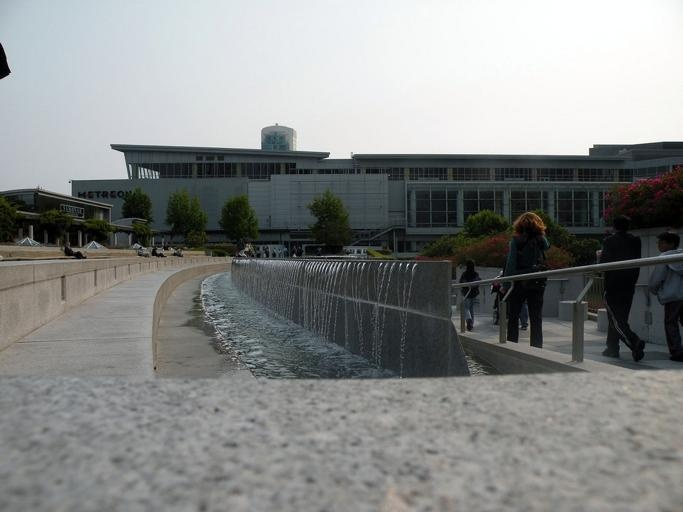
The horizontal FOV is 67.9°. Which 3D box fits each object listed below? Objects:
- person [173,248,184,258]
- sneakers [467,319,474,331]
[{"bbox_3d":[-16.828,-0.380,51.983,0.630,0.985,2.210,5,0,-4],"label":"person"},{"bbox_3d":[1.307,0.701,5.152,0.038,0.056,0.128,-2,-23,5],"label":"sneakers"}]
